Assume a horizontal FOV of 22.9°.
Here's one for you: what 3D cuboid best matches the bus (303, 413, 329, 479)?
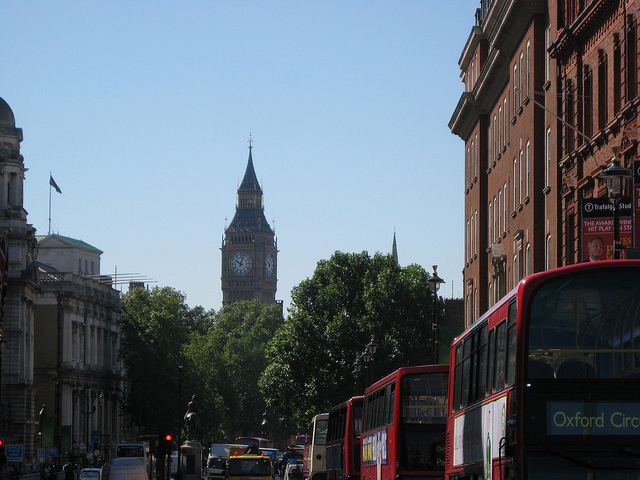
[{"bbox_3d":[-0.141,9.399,72.620,1.284,2.082,3.621,1,-5,-1],"label":"bus"}]

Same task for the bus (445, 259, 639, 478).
[{"bbox_3d":[5.109,3.450,38.086,2.480,4.953,5.560,12,-24,-34],"label":"bus"}]

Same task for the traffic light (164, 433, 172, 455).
[{"bbox_3d":[-6.916,9.179,72.049,0.319,1.188,1.201,2,-20,-7],"label":"traffic light"}]
